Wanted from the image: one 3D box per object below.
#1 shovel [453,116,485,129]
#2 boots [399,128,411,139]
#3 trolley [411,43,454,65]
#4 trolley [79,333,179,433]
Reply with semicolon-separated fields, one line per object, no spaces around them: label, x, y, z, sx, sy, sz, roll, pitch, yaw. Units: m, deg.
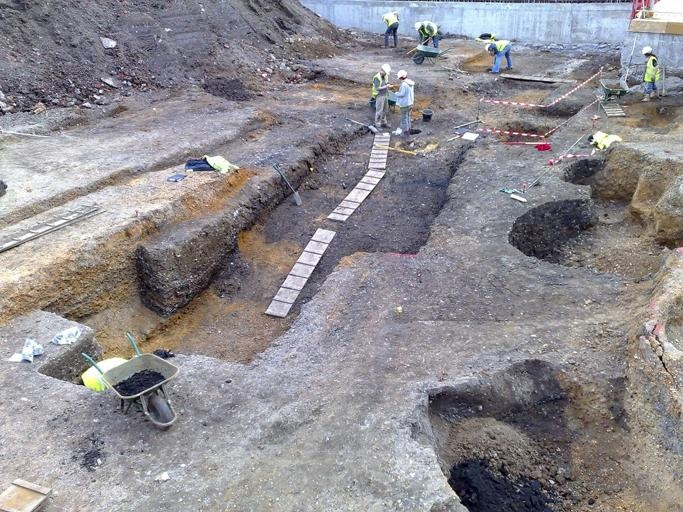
shovel;3.188;-3.329;12.181;0.901;0.151;0.424;-21;34;-32
boots;1.541;-3.010;11.952;0.311;0.140;0.281;4;4;26
trolley;3.265;-6.912;16.625;1.773;0.569;0.694;4;42;7
trolley;-2.308;1.414;5.545;1.280;0.730;0.657;23;41;36
